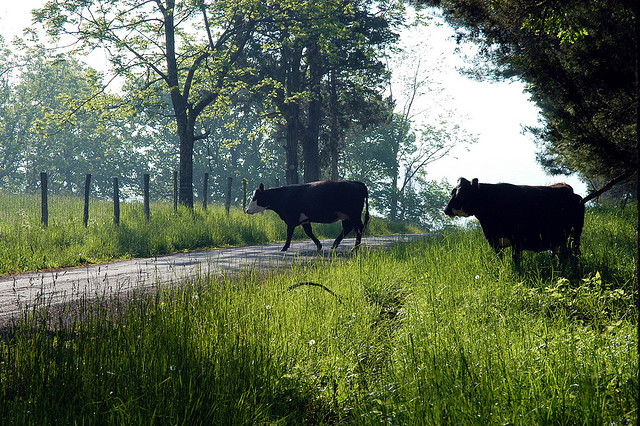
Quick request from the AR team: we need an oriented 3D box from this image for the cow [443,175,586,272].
[{"bbox_3d":[5.580,0.397,22.998,3.976,3.156,1.947,3,-7,7],"label":"cow"}]
